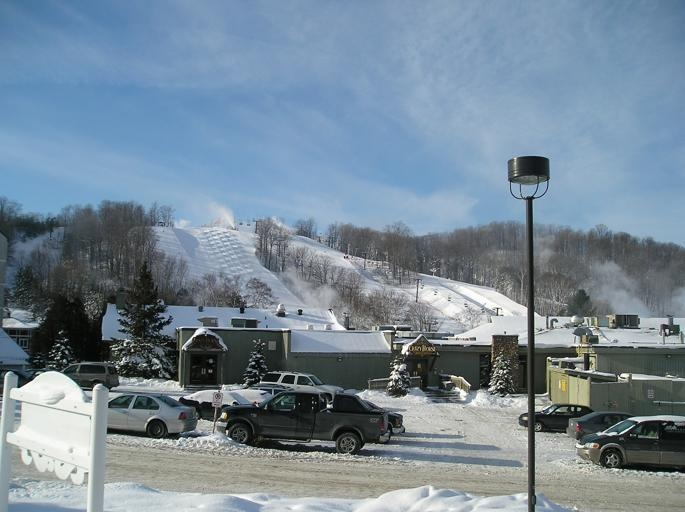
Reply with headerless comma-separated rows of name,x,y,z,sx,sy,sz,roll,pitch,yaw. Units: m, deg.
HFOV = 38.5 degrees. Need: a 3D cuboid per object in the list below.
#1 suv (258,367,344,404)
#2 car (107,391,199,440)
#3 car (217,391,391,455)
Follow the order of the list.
suv,-2.835,8.804,66.115,4.673,2.156,2.253,-1,-2,7
car,-10.980,9.183,56.936,5.261,2.002,2.548,4,-4,11
car,-2.075,9.725,55.003,8.463,3.592,3.647,0,-5,10
